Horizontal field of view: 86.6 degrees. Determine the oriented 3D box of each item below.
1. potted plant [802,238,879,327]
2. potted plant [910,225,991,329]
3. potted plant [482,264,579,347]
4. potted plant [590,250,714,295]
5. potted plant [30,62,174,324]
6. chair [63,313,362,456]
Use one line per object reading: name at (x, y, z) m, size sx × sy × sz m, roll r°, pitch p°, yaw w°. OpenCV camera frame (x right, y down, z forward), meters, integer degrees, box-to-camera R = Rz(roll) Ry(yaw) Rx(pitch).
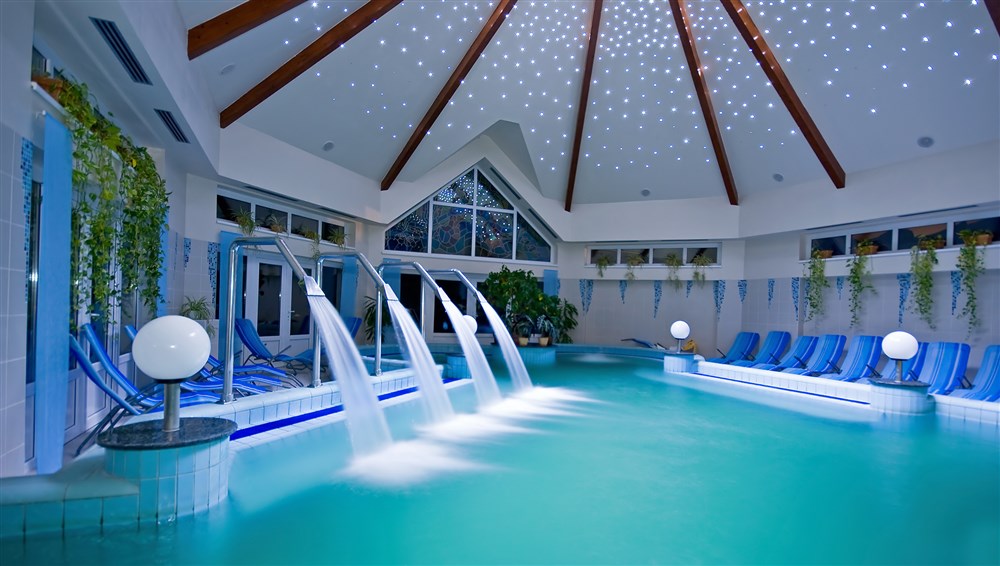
potted plant at (8.067, -0.016, 12.477) m, size 0.782 × 2.453 × 1.906 m, roll 8°, pitch -8°, yaw -36°
potted plant at (9.107, -0.074, 10.831) m, size 0.434 × 2.040 × 1.263 m, roll -11°, pitch 16°, yaw -44°
potted plant at (1.000, 0.627, 14.962) m, size 1.978 × 2.374 × 3.246 m, roll 9°, pitch 14°, yaw 37°
potted plant at (4.477, -0.550, 15.331) m, size 3.263 × 1.152 × 0.382 m, roll 5°, pitch 13°, yaw 19°
potted plant at (-5.107, -0.980, 7.003) m, size 0.938 × 3.084 × 2.094 m, roll -5°, pitch 13°, yaw -24°
chair at (-4.259, 1.260, 7.088) m, size 2.506 × 1.112 × 1.371 m, roll -4°, pitch 0°, yaw -15°
